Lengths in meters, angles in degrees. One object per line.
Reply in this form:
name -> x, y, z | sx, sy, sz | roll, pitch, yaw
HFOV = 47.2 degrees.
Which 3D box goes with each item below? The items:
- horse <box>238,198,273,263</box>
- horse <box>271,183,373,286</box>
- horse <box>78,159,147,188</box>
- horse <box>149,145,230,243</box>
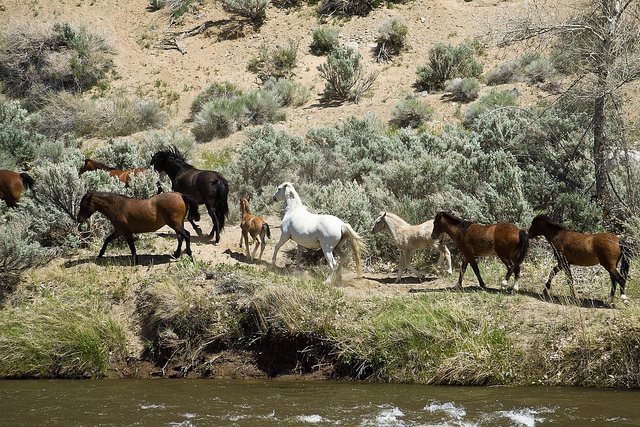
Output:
horse -> -2.175, 0.491, 23.359 | 0.507, 1.807, 2.300 | 1, 7, -31
horse -> -0.168, 0.624, 22.640 | 4.127, 2.805, 1.133 | 10, 6, 41
horse -> -7.127, -1.362, 24.943 | 2.257, 1.089, 0.887 | -2, -3, 20
horse -> -4.352, -0.684, 24.515 | 3.496, 2.981, 0.912 | 8, 10, 33
